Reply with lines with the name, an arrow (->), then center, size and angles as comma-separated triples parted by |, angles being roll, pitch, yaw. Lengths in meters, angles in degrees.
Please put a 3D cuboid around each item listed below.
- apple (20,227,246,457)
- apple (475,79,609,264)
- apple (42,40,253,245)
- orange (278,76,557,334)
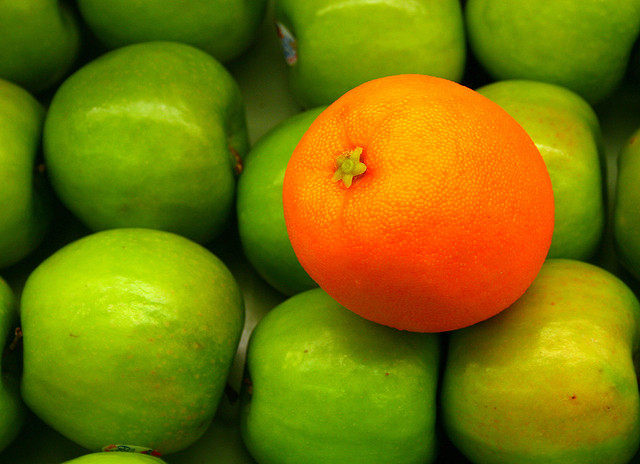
apple -> -0.253, 0.151, 0.890 | 0.295, 0.188, 0.270 | -4, 56, -3
apple -> 0.347, -0.085, 1.019 | 0.205, 0.238, 0.254 | 4, 89, -4
apple -> -0.261, -0.113, 1.014 | 0.279, 0.280, 0.291 | 11, 53, -26
orange -> 0.120, -0.044, 0.815 | 0.293, 0.324, 0.294 | -1, 11, -7
